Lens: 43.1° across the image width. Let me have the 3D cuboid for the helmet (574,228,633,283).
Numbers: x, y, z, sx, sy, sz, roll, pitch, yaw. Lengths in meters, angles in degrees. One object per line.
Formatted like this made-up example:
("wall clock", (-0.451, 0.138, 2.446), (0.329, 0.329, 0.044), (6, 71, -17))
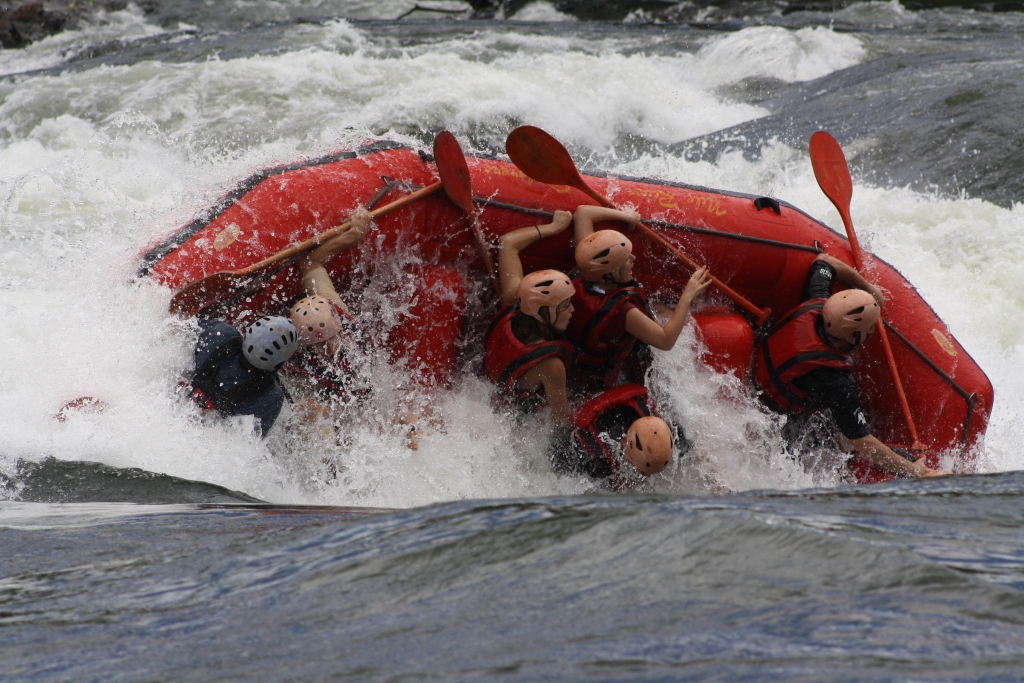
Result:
("helmet", (0.689, -0.603, 9.678), (0.433, 0.382, 0.310), (-17, 55, 15))

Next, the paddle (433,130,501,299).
("paddle", (-0.285, -0.878, 9.797), (0.241, 1.508, 0.121), (-22, 34, -3))

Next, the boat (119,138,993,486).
("boat", (0.661, -0.659, 9.811), (4.912, 0.965, 2.912), (14, 65, -11))

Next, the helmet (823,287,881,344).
("helmet", (2.550, -0.210, 9.762), (0.469, 0.378, 0.331), (-3, 36, -1))

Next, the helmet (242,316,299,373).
("helmet", (-1.659, 0.041, 9.068), (0.416, 0.380, 0.303), (-21, 68, 18))

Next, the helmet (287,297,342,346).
("helmet", (-1.382, -0.147, 9.209), (0.315, 0.340, 0.325), (-8, 22, -20))

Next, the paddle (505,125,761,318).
("paddle", (0.942, -0.882, 10.154), (3.106, 0.442, 0.227), (32, 7, -5))

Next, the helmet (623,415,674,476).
("helmet", (0.889, 0.753, 9.392), (0.416, 0.437, 0.393), (-2, 2, -6))

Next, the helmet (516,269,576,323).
("helmet", (0.214, -0.320, 9.601), (0.473, 0.409, 0.343), (-7, 25, -24))
